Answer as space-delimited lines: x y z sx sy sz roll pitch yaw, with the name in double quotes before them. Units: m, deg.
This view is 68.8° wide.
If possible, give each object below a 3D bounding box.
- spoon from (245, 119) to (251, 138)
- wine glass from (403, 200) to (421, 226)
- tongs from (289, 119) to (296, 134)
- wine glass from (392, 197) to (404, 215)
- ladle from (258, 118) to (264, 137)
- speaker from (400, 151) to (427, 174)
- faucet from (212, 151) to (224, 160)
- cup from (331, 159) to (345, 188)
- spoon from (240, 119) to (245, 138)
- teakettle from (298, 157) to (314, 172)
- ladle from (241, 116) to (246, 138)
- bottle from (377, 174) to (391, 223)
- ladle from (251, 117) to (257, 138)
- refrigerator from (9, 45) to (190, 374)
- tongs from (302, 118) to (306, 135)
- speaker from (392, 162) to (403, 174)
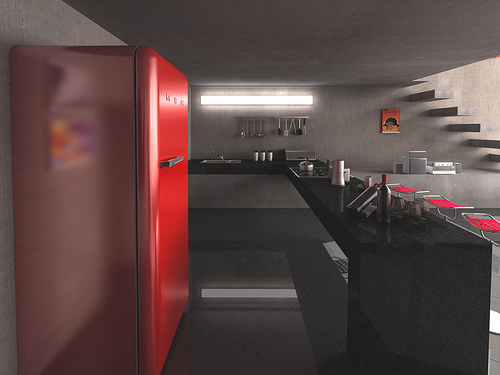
"spoon" -0.035 -1.088 6.786 0.108 0.330 0.057 -3 13 -2
"wine glass" 1.058 0.172 2.490 0.137 0.174 0.160 0 -4 3
"tongs" 0.793 -1.137 6.782 0.127 0.250 0.058 -1 14 5
"wine glass" 1.066 0.129 2.632 0.077 0.118 0.081 4 14 23
"ladle" 0.203 -1.109 6.778 0.105 0.341 0.054 -5 14 -10
"speaker" 2.704 -0.411 6.050 0.261 0.325 0.470 0 2 7
"faucet" -0.590 -0.593 6.810 0.210 0.151 0.124 -3 13 -2
"cup" 0.920 -0.150 3.801 0.141 0.259 0.358 1 13 13
"spoon" -0.129 -1.091 6.781 0.064 0.340 0.083 10 18 42
"teakettle" 0.721 -0.294 4.717 0.188 0.184 0.198 0 -2 -1
"ladle" -0.126 -1.113 6.776 0.079 0.385 0.056 -8 15 -24
"bottle" 0.936 0.067 2.539 0.096 0.335 0.174 3 14 20
"ladle" 0.078 -1.099 6.775 0.101 0.359 0.069 -2 13 -1
"refrigerator" -0.790 0.107 3.760 1.619 3.436 2.068 0 4 0
"tongs" 1.004 -1.113 6.752 0.070 0.287 0.082 -2 13 3
"speaker" 2.485 -0.311 6.187 0.216 0.196 0.147 -1 0 4
